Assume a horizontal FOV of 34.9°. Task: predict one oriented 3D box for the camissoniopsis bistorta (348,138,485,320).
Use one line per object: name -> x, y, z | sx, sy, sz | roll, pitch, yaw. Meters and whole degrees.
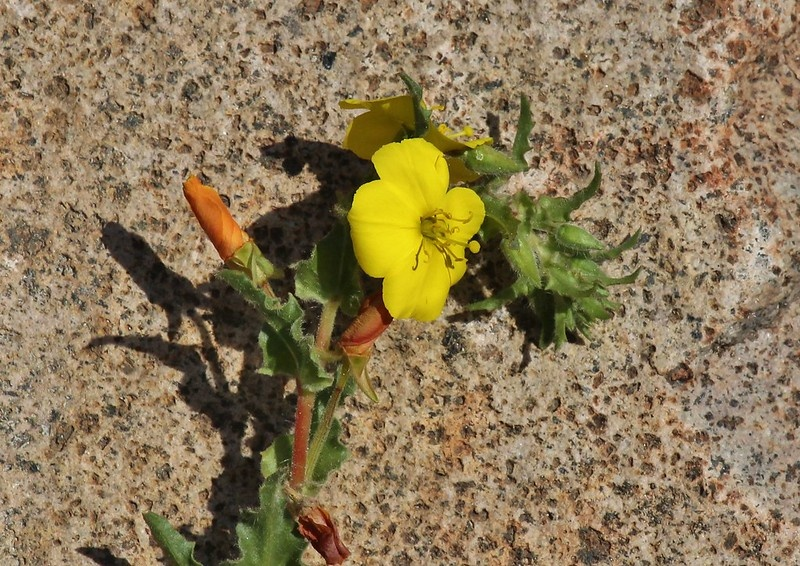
camissoniopsis bistorta -> 0.034, -0.186, 4.421 | 0.474, 0.165, 0.505 | 39, 86, 3
